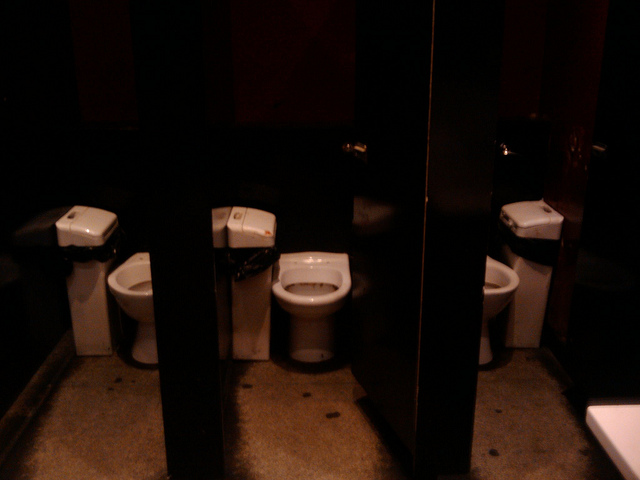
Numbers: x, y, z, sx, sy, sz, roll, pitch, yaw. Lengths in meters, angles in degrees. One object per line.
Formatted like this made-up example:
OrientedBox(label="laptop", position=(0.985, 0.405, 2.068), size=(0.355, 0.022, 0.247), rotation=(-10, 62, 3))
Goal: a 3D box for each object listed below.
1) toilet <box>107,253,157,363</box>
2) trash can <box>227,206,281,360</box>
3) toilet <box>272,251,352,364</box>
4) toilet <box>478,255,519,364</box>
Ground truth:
OrientedBox(label="toilet", position=(-1.156, 0.471, 3.674), size=(0.442, 0.555, 0.597), rotation=(-3, 20, -25))
OrientedBox(label="trash can", position=(-0.427, 0.297, 3.638), size=(0.327, 0.963, 0.376), rotation=(-3, 29, -5))
OrientedBox(label="toilet", position=(-0.035, 0.480, 3.748), size=(0.512, 0.617, 0.744), rotation=(-3, 20, -8))
OrientedBox(label="toilet", position=(1.136, 0.475, 3.625), size=(0.213, 0.599, 0.485), rotation=(9, 30, 17))
